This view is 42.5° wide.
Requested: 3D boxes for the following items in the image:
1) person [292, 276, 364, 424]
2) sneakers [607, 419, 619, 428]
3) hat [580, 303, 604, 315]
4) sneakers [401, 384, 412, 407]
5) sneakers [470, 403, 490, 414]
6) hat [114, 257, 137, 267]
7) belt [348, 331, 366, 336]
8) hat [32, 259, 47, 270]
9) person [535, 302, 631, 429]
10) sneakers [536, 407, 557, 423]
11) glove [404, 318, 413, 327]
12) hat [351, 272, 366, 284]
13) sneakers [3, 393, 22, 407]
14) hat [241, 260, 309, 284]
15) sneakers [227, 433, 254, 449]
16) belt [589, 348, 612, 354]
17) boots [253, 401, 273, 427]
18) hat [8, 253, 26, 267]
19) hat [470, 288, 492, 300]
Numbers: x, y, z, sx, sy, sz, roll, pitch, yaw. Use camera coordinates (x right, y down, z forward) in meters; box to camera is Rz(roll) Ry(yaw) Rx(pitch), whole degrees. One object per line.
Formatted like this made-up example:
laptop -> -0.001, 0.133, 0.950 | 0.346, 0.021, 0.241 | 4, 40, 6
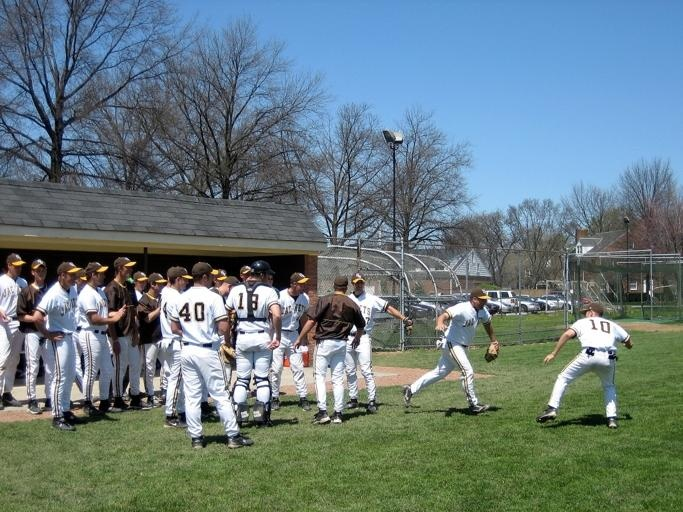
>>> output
person -> -0.162, 1.552, 14.762 | 1.064, 2.407, 0.965 | -1, 7, -3
sneakers -> 4.263, 2.616, 13.822 | 0.136, 0.155, 0.148 | -3, -7, 34
hat -> 4.043, 0.838, 14.305 | 0.368, 0.201, 0.278 | 4, -5, 27
sneakers -> 1.130, 2.406, 15.126 | 0.175, 0.394, 0.129 | 1, -2, 2
sneakers -> 2.341, 2.562, 14.831 | 0.344, 0.165, 0.140 | -8, 6, 12
hat -> -3.887, 0.117, 15.643 | 0.414, 0.196, 0.290 | 1, 2, -13
belt -> 0.238, 1.325, 15.106 | 0.144, 0.055, 0.207 | 0, 0, -14
hat -> -5.357, 0.138, 15.380 | 0.207, 0.164, 0.296 | 3, -19, -45
person -> 3.897, 1.751, 13.997 | 1.329, 1.848, 0.854 | 1, 7, 14
sneakers -> 3.244, 2.538, 14.000 | 0.176, 0.266, 0.491 | 11, -13, -19
glove -> 1.301, 1.286, 17.060 | 0.164, 0.188, 0.213 | -3, -9, -2
hat -> 0.275, 0.394, 15.623 | 0.188, 0.135, 0.268 | 5, -1, -10
sneakers -> -6.018, 2.628, 16.045 | 0.448, 0.202, 0.150 | 2, 2, 9
hat -> -1.355, 0.243, 14.409 | 0.996, 0.271, 0.434 | 6, 7, 11
sneakers -> -1.566, 2.780, 13.320 | 0.433, 0.209, 0.160 | -2, 4, -22
belt -> 4.059, 1.480, 13.739 | 0.380, 0.095, 0.055 | -1, 7, -8
boots -> -1.307, 2.554, 14.261 | 0.335, 0.390, 0.373 | 1, 3, -10
hat -> -5.862, 0.065, 15.757 | 0.341, 0.209, 0.224 | -3, -3, 28
hat -> 2.257, 0.628, 14.534 | 0.226, 0.123, 0.171 | 3, 3, 25
